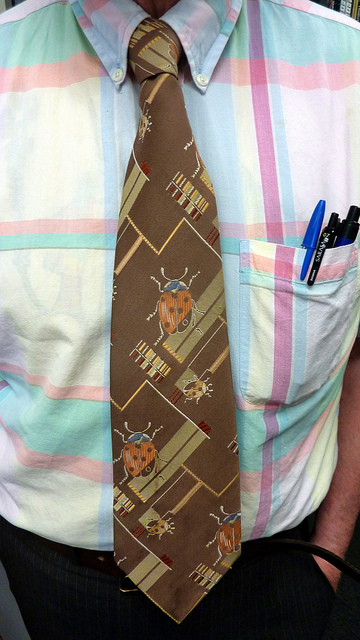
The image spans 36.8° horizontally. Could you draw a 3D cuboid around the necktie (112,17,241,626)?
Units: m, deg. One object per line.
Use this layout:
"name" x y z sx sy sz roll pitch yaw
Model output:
"necktie" -0.007 0.013 0.581 0.141 0.662 0.041 1 4 9
